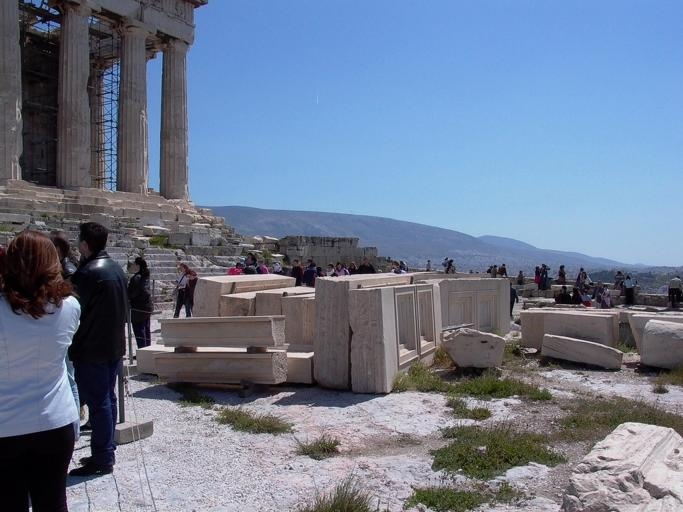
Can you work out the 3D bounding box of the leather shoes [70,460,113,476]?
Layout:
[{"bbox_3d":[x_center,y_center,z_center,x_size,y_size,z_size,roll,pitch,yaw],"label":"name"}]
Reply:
[{"bbox_3d":[-2.276,1.959,5.203,0.387,0.159,0.141,7,-11,-6],"label":"leather shoes"}]
